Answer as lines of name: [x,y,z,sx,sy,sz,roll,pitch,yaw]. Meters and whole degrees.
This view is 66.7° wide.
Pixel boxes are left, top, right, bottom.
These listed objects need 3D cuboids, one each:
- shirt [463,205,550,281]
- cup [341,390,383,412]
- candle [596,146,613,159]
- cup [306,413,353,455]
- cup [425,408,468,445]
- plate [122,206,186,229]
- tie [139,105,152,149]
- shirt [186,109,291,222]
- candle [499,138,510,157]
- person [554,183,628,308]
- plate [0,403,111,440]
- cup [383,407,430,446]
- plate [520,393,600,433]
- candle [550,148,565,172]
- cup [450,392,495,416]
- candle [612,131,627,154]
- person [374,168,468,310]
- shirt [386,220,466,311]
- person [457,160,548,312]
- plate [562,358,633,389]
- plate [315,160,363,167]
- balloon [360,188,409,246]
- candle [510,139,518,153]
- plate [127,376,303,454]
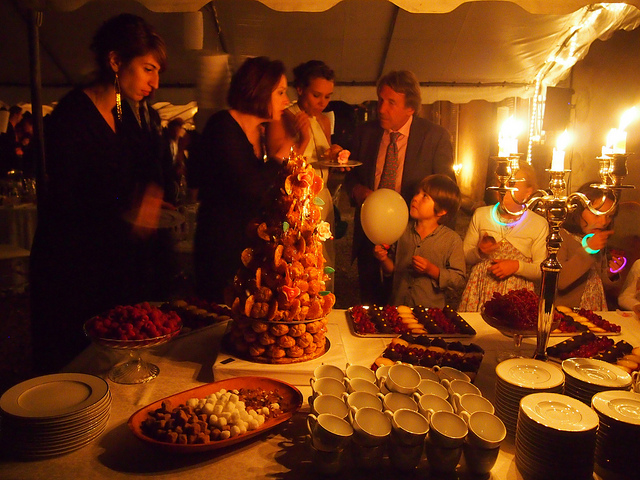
shirt: [1.511,0.033,3.898,0.544,0.563,0.328,8,2,28]
cup: [0.170,0.645,1.967,0.075,0.087,0.117,-1,7,-26]
candle: [1.269,-0.388,2.174,0.052,0.063,0.054,0,2,7]
cup: [0.038,0.719,1.842,0.170,0.121,0.141,4,10,-1]
cup: [0.479,0.697,1.831,0.085,0.096,0.133,-5,33,1]
plate: [-1.175,-0.157,3.534,0.141,0.189,0.506,9,11,28]
tie: [-1.222,-0.810,3.397,0.039,0.161,0.153,-19,11,-13]
shirt: [-0.599,-0.605,3.337,0.513,0.480,0.555,-15,8,43]
candle: [0.833,-0.416,2.196,0.046,0.085,0.059,6,10,16]
person: [2.420,0.076,4.329,0.494,1.086,1.166,9,11,31]
plate: [-1.063,0.742,1.940,0.395,0.059,0.086,1,10,-18]
cup: [0.335,0.707,1.819,0.138,0.105,0.095,6,10,16]
plate: [0.886,0.649,1.813,0.253,0.063,0.257,-2,12,-5]
candle: [1.048,-0.352,2.146,0.052,0.102,0.061,8,11,23]
cup: [0.614,0.635,1.945,0.124,0.096,0.082,1,16,3]
candle: [1.299,-0.422,2.113,0.050,0.098,0.073,9,11,30]
person: [0.876,-0.021,4.031,0.732,1.138,0.408,3,10,0]
shirt: [0.847,0.197,3.975,0.517,0.635,0.363,24,5,27]
person: [1.582,0.237,4.255,0.691,1.800,0.558,11,25,25]
plate: [1.183,0.565,2.073,0.147,0.027,0.147,-14,23,-37]
plate: [0.148,-0.617,3.916,0.320,0.063,0.716,4,10,0]
balloon: [0.425,-0.173,3.805,0.373,0.473,0.384,2,-1,-5]
candle: [0.871,-0.422,2.191,0.025,0.060,0.036,8,11,24]
plate: [-0.395,0.723,2.011,0.467,0.095,0.305,-12,14,-41]
